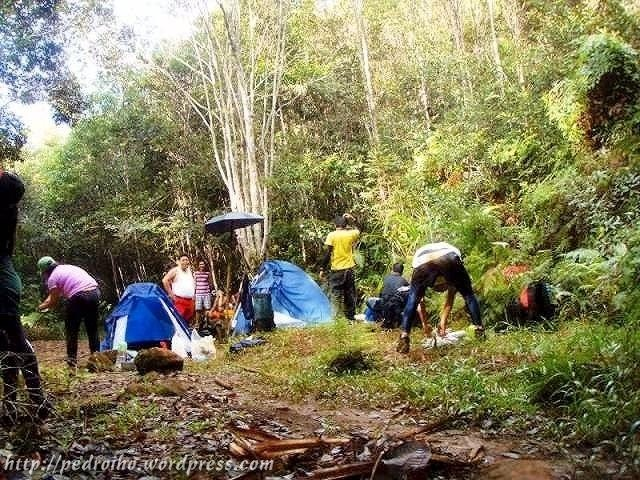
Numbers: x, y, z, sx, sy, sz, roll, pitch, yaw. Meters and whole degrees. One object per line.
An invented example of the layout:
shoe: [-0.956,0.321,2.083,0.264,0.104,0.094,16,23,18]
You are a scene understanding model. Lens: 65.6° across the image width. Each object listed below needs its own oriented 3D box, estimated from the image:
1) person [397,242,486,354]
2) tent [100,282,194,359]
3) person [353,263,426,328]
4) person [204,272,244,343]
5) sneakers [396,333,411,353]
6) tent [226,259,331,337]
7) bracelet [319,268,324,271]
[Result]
person: [1.494,0.671,6.347,1.048,1.313,0.903,1,6,2]
tent: [-2.577,1.187,7.596,1.198,0.728,1.017,1,-5,8]
person: [1.104,0.899,7.906,0.918,0.905,1.535,-1,-3,9]
person: [-1.928,1.417,9.757,0.615,1.400,0.861,9,-6,31]
sneakers: [1.016,1.241,6.069,0.160,0.240,0.194,1,6,10]
tent: [-0.609,0.946,9.011,1.601,1.219,1.120,-11,-5,15]
bracelet: [0.021,0.521,8.739,0.068,0.074,0.124,4,0,3]
